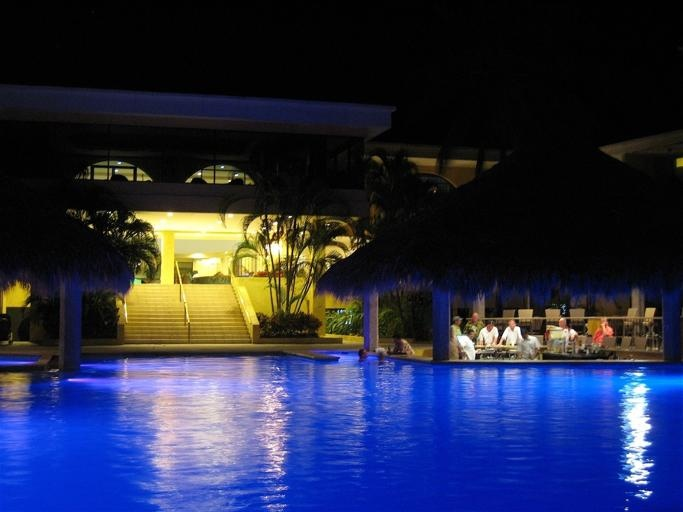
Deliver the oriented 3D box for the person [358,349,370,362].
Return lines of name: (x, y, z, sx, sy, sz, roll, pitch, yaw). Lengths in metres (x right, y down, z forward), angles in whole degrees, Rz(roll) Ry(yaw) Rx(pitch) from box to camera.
person: (0.695, 3.272, 20.965, 0.248, 0.406, 0.701, 4, -7, -4)

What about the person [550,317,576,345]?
person: (7.556, 2.622, 21.514, 0.765, 1.091, 1.108, 0, -2, -2)

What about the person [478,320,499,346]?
person: (4.979, 2.647, 21.754, 0.781, 1.127, 0.712, 1, -6, 6)
